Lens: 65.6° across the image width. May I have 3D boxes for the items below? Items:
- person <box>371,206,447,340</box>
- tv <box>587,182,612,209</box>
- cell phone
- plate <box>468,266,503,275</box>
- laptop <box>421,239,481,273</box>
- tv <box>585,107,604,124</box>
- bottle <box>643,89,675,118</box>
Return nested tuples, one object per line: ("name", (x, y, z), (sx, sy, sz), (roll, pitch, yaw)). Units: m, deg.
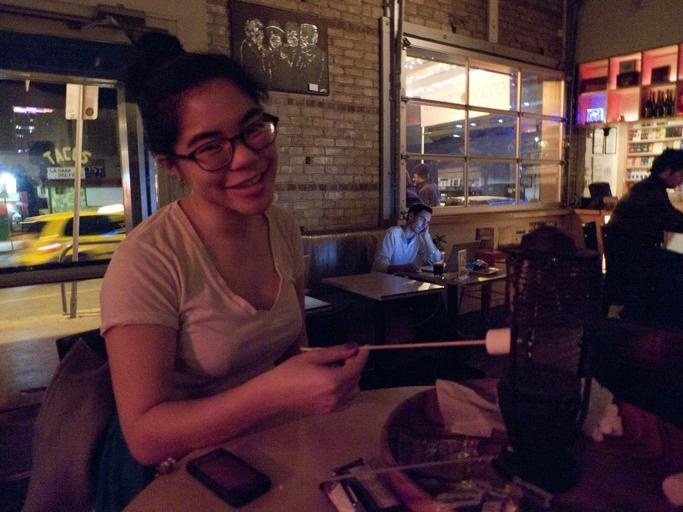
("person", (0.604, 0.137, 4.896), (0.688, 1.201, 0.496), (14, 8, 41))
("tv", (3.307, -0.762, 6.844), (0.072, 0.318, 0.311), (3, 6, 12))
("cell phone", (-0.282, 0.552, 1.331), (0.209, 0.071, 0.102), (5, 11, 37))
("plate", (1.203, 0.133, 4.379), (0.166, 0.022, 0.116), (-12, 16, -39))
("laptop", (0.896, -0.028, 4.422), (0.286, 0.265, 0.401), (19, 20, 40))
("tv", (3.369, -1.856, 7.070), (0.035, 0.247, 0.255), (-2, 11, -36))
("bottle", (3.806, -1.814, 6.379), (0.176, 0.328, 0.343), (-9, 11, -39))
